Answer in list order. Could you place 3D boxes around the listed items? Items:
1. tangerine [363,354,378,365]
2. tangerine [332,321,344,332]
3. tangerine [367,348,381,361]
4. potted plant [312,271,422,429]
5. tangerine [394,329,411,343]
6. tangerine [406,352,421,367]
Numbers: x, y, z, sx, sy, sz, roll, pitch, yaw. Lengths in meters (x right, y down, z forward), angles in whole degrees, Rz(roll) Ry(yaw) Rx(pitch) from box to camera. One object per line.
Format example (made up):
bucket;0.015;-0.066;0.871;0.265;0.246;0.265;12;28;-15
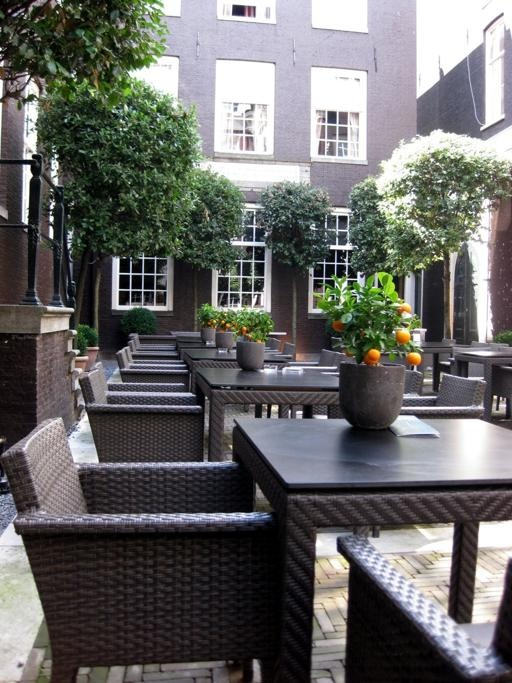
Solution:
tangerine;0.316;0.050;1.719;0.031;0.036;0.031;0;7;-6
tangerine;0.229;-0.038;1.769;0.030;0.029;0.030;10;22;40
tangerine;0.331;0.037;1.727;0.031;0.036;0.031;9;-11;-35
potted plant;0.320;0.027;1.796;0.229;0.494;0.247;-1;3;-15
tangerine;0.394;-0.013;1.683;0.036;0.036;0.036;0;-2;-44
tangerine;0.442;0.050;1.723;0.043;0.048;0.043;-1;-7;-7
